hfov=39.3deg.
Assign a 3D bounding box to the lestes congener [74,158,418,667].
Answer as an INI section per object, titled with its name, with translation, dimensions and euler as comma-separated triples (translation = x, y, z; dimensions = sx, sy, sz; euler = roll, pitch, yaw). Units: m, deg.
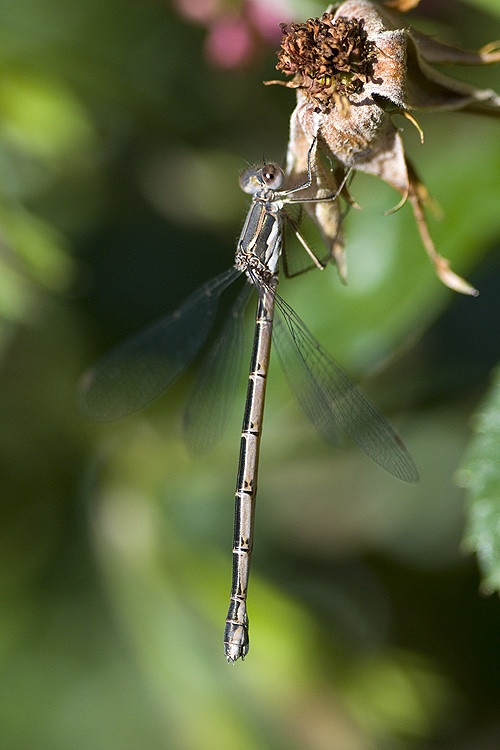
[lestes congener]
translation = -0.014, 0.026, 0.603
dimensions = 0.179, 0.387, 0.264
euler = -13, 30, -32
